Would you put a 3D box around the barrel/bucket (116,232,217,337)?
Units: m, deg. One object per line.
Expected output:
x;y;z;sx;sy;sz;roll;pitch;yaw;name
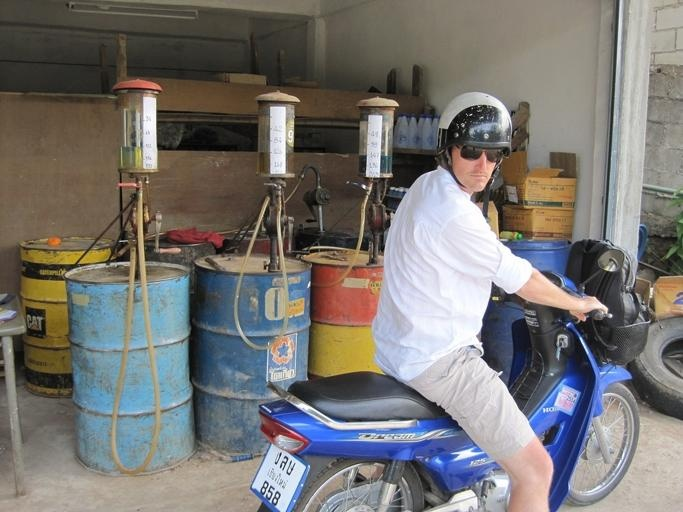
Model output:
-1.246;0.186;5.152;0.559;0.658;0.582;1;4;0;barrel/bucket

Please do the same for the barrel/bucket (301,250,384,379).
-0.050;0.426;4.886;0.594;0.690;0.595;7;5;-1;barrel/bucket

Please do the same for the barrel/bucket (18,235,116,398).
-2.052;0.433;5.301;0.656;1.053;0.683;3;10;0;barrel/bucket

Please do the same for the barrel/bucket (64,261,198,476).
-1.305;0.673;4.412;0.731;1.160;0.740;1;9;0;barrel/bucket

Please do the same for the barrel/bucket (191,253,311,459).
-0.582;0.606;4.616;0.783;1.189;0.763;3;11;-1;barrel/bucket

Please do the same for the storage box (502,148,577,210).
1.792;-0.612;5.915;0.620;0.450;0.654;-2;7;-32;storage box

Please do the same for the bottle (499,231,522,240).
1.346;-0.154;5.583;0.148;0.065;0.095;-1;7;26;bottle

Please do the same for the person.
0.577;0.193;3.256;0.838;1.850;0.483;2;10;18;person

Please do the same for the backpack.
1.450;0.264;3.782;0.364;0.654;0.522;7;6;24;backpack
